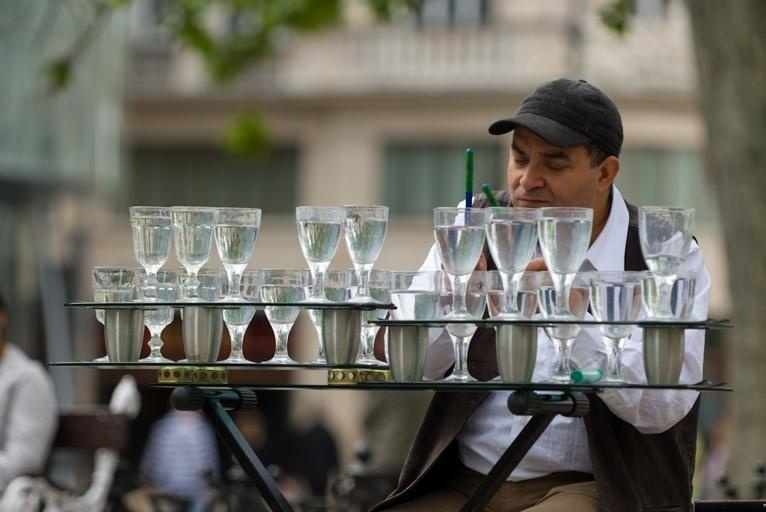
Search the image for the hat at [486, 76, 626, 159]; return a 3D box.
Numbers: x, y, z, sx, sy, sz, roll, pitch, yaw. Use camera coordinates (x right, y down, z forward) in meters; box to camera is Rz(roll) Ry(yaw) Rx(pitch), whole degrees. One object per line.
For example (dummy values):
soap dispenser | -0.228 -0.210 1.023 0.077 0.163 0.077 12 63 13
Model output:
hat | 0.719 -0.550 7.397 0.406 0.242 0.304 21 0 -23
